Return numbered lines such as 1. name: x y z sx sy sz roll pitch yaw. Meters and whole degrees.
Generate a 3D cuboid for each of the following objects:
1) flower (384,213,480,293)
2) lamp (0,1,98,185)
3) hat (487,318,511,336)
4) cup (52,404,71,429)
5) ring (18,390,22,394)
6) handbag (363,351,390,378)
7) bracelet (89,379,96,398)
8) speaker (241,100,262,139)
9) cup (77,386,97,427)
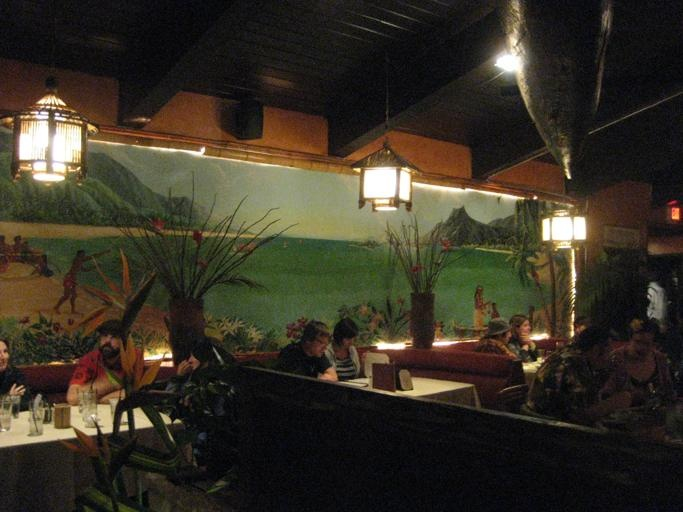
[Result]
1. flower: 0.947 0.014 6.612 0.830 0.800 0.843 -8 17 -35
2. lamp: -1.621 -0.699 3.310 0.484 0.578 0.340 -2 -4 -11
3. hat: 1.377 0.593 5.274 0.163 0.074 0.157 -6 1 -19
4. cup: -1.371 0.779 2.973 0.105 0.134 0.101 -2 -9 0
5. ring: -1.750 0.730 3.304 0.020 0.018 0.019 1 -5 0
6. handbag: 0.213 0.699 3.978 0.204 0.185 0.053 6 8 33
7. bracelet: -1.363 0.711 3.311 0.027 0.106 0.101 8 -13 -37
8. speaker: -0.811 -1.206 5.450 0.178 0.339 0.266 -1 -4 -21
9. cup: -1.265 0.757 3.100 0.101 0.164 0.097 -1 -3 0
